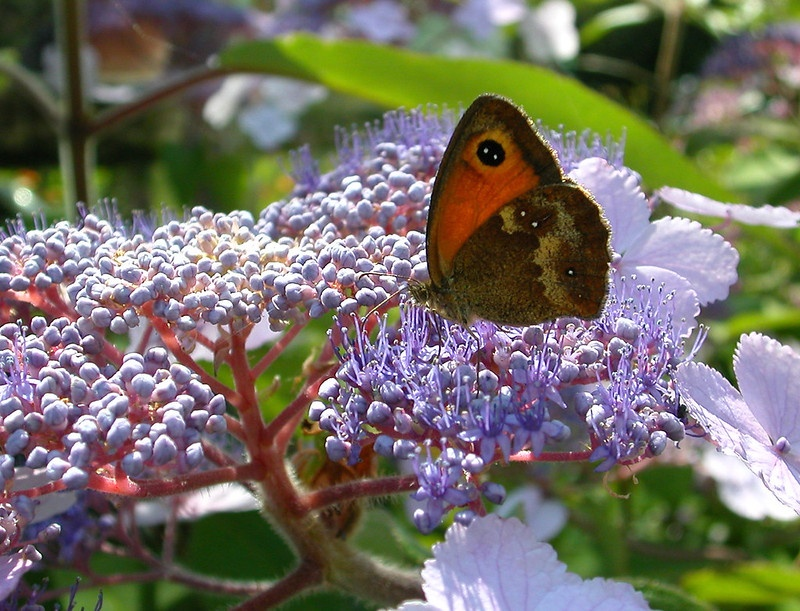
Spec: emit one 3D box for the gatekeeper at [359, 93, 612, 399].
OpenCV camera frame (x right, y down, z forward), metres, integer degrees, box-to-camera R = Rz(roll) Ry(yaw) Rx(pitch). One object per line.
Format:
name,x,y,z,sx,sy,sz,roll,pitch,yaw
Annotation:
gatekeeper,0.205,-0.115,2.302,0.477,0.550,0.395,9,64,1
